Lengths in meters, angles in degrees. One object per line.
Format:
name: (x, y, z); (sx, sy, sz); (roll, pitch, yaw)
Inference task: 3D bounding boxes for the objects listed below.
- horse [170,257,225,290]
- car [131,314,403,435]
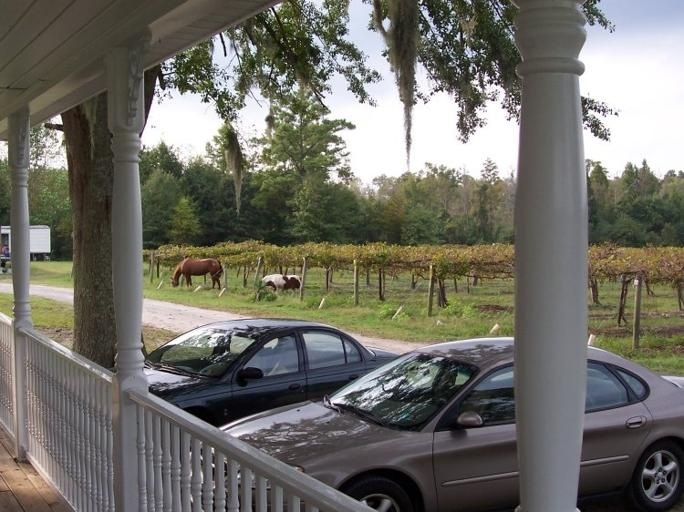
horse: (-7.863, 0.952, 34.367); (3.225, 1.637, 1.903); (-1, -2, 36)
car: (-0.944, 1.439, 8.183); (2.975, 1.105, 1.428); (5, -6, -35)
